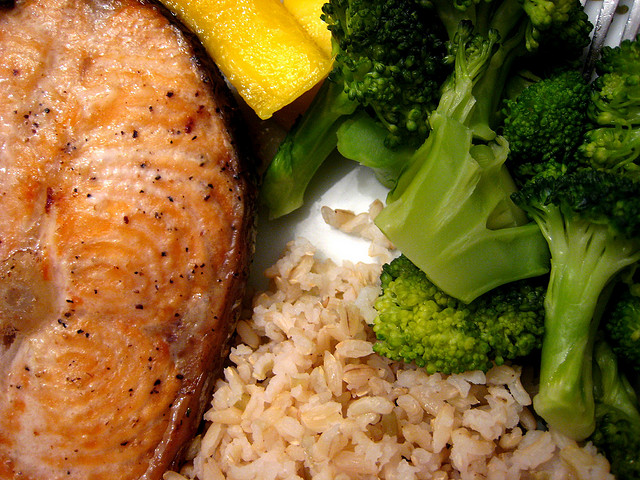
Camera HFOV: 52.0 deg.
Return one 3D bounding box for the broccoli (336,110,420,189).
[{"bbox_3d":[0.223,-0.343,2.535,0.314,0.264,0.074,41,22,9],"label":"broccoli"}]
